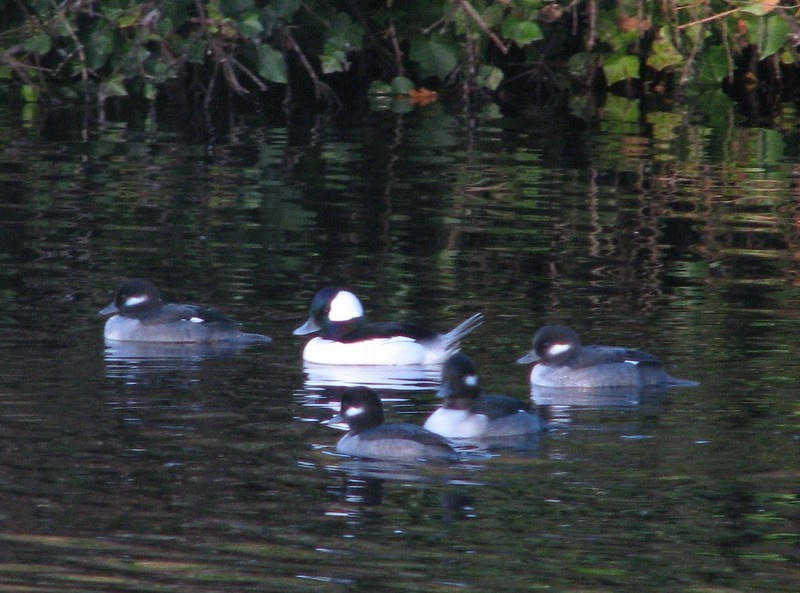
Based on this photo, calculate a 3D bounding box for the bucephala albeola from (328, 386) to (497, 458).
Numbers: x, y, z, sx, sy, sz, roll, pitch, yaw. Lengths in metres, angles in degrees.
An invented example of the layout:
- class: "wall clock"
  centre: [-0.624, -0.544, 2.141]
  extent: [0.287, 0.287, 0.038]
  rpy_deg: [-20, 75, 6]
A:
- class: "bucephala albeola"
  centre: [-0.050, 0.942, 8.108]
  extent: [0.471, 0.517, 0.859]
  rpy_deg: [4, -1, -39]
